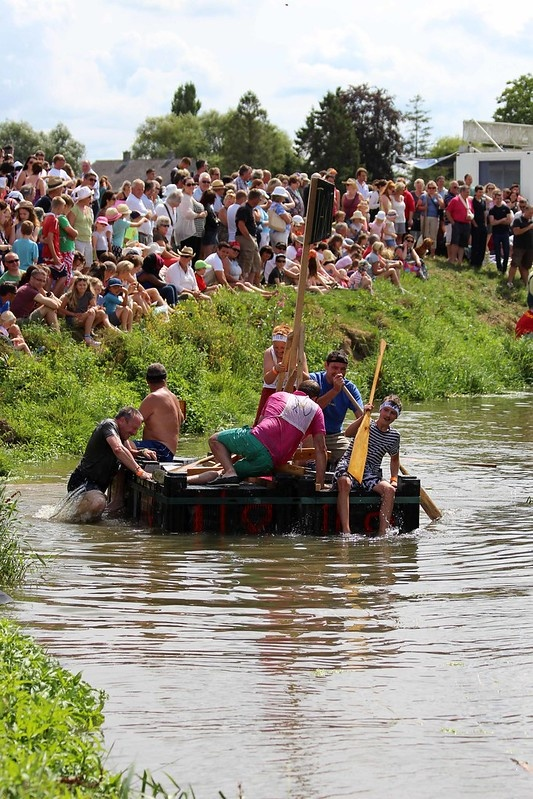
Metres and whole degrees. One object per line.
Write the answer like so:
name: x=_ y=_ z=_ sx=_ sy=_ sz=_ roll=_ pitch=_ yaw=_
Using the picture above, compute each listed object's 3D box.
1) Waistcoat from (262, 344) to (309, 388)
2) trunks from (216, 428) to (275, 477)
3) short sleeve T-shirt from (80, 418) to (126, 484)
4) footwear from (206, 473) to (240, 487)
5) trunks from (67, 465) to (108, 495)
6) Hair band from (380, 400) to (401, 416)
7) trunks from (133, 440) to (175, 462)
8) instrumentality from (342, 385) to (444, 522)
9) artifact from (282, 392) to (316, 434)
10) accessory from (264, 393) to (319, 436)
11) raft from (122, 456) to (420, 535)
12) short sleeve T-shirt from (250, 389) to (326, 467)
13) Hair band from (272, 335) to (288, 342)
Waistcoat: x=0.181 y=-0.332 z=12.236 sx=0.335 sy=0.479 sz=0.408 roll=-3 pitch=5 yaw=-17
trunks: x=-0.175 y=0.455 z=10.804 sx=0.188 sy=0.393 sz=0.440 roll=-22 pitch=1 yaw=-39
short sleeve T-shirt: x=-1.547 y=0.367 z=11.556 sx=0.445 sy=0.754 sz=0.664 roll=1 pitch=33 yaw=-6
footwear: x=-0.396 y=0.684 z=10.787 sx=0.276 sy=0.126 sz=0.106 roll=0 pitch=-2 yaw=37
trunks: x=-1.659 y=0.707 z=11.567 sx=0.370 sy=0.251 sz=0.289 roll=9 pitch=29 yaw=8
Hair band: x=1.088 y=0.068 z=11.065 sx=0.126 sy=0.097 sz=0.171 roll=7 pitch=-1 yaw=-1
trunks: x=-1.084 y=0.479 z=12.050 sx=0.280 sy=0.140 sz=0.196 roll=9 pitch=-25 yaw=-10
instrumentality: x=1.366 y=0.598 z=13.481 sx=0.856 sy=1.831 sz=1.018 roll=9 pitch=-35 yaw=-11
artifact: x=0.259 y=0.128 z=10.766 sx=0.185 sy=0.253 sz=0.143 roll=29 pitch=-29 yaw=13
accessory: x=0.187 y=0.042 z=10.966 sx=0.458 sy=0.335 sz=0.579 roll=30 pitch=-4 yaw=-11
raft: x=0.034 y=0.907 z=11.322 sx=2.314 sy=0.602 sz=1.450 roll=3 pitch=2 yaw=-21
short sleeve T-shirt: x=0.201 y=0.240 z=10.960 sx=0.471 sy=0.706 sz=0.248 roll=15 pitch=-28 yaw=6
Hair band: x=0.113 y=-0.589 z=11.907 sx=0.128 sy=0.067 sz=0.097 roll=3 pitch=2 yaw=10
